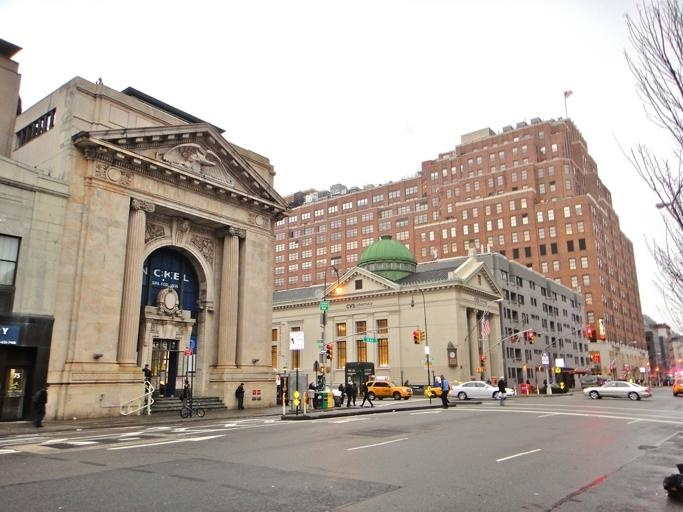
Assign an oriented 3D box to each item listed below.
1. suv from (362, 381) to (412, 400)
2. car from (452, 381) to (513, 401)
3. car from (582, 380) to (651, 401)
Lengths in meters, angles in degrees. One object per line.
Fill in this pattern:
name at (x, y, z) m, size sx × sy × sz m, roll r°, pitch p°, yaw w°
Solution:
suv at (4.847, 13.487, 51.265) m, size 3.966 × 1.578 × 1.840 m, roll -14°, pitch -22°, yaw 30°
car at (13.120, 13.337, 50.891) m, size 2.426 × 1.800 × 6.236 m, roll 9°, pitch -19°, yaw -32°
car at (24.830, 12.228, 46.606) m, size 4.706 × 1.635 × 2.395 m, roll -14°, pitch -20°, yaw 37°
